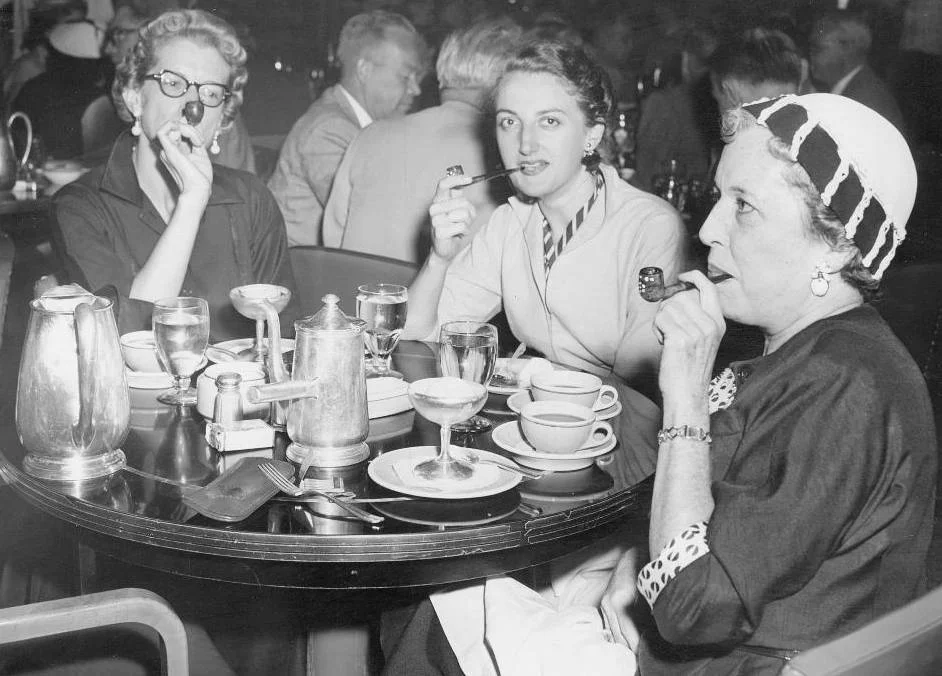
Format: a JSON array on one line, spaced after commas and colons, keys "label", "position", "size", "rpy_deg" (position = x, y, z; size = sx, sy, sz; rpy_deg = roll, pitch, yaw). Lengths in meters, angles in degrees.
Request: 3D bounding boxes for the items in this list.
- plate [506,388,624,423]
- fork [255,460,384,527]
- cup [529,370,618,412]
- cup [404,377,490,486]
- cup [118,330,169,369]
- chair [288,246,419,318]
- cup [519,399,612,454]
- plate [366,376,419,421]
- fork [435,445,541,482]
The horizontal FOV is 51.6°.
[{"label": "plate", "position": [0.226, 0.155, 2.271], "size": [0.155, 0.057, 0.118], "rpy_deg": [4, 8, -5]}, {"label": "fork", "position": [-0.295, 0.304, 1.869], "size": [0.247, 0.036, 0.034], "rpy_deg": [18, 26, 25]}, {"label": "cup", "position": [0.219, 0.114, 2.220], "size": [0.116, 0.056, 0.136], "rpy_deg": [-2, 8, -26]}, {"label": "cup", "position": [-0.049, 0.176, 1.945], "size": [0.197, 0.199, 0.187], "rpy_deg": [2, 6, 0]}, {"label": "cup", "position": [-0.788, 0.029, 2.366], "size": [0.109, 0.065, 0.111], "rpy_deg": [2, 15, -1]}, {"label": "chair", "position": [-0.403, -0.204, 3.365], "size": [0.335, 0.285, 0.266], "rpy_deg": [3, 4, 22]}, {"label": "cup", "position": [0.187, 0.183, 2.025], "size": [0.131, 0.056, 0.107], "rpy_deg": [6, 7, 3]}, {"label": "plate", "position": [-0.189, 0.135, 2.219], "size": [0.102, 0.060, 0.098], "rpy_deg": [-3, 4, -11]}, {"label": "fork", "position": [0.033, 0.259, 1.979], "size": [0.030, 0.018, 0.171], "rpy_deg": [-30, 34, -35]}]
